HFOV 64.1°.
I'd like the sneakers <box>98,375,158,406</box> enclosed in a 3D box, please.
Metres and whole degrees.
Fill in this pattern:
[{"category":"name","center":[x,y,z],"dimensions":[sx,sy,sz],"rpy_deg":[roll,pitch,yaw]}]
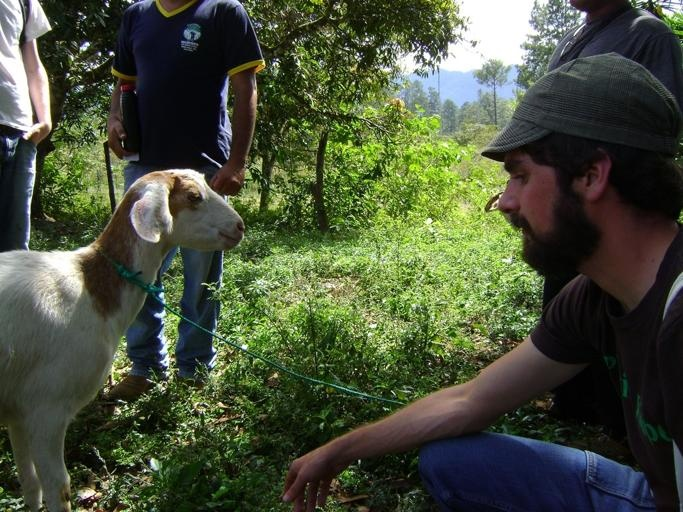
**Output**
[{"category":"sneakers","center":[-1.551,0.959,4.026],"dimensions":[0.436,0.156,0.168],"rpy_deg":[-28,1,-36]}]
